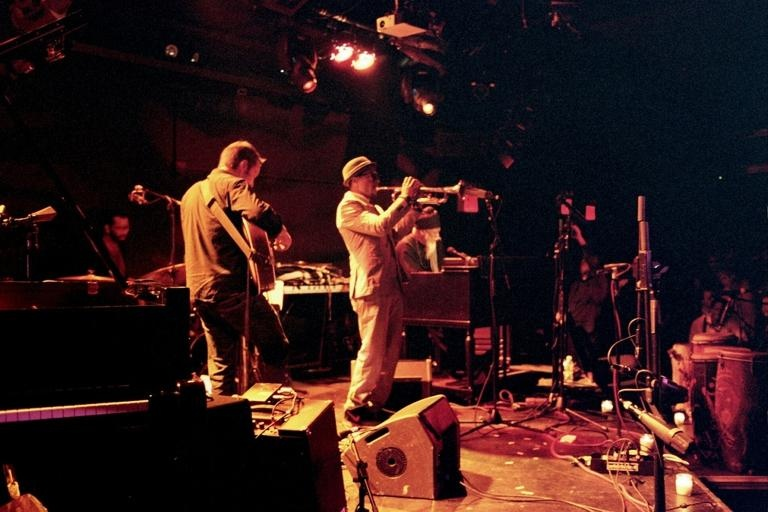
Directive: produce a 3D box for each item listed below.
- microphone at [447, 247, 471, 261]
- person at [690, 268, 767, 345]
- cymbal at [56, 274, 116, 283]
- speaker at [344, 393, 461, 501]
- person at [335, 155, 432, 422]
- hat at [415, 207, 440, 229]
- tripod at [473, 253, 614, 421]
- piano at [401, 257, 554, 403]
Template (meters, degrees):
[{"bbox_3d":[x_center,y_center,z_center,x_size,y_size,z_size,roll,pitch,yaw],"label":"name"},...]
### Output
[{"bbox_3d":[0.912,-0.048,9.039,0.184,0.166,0.655,10,-2,-2],"label":"microphone"},{"bbox_3d":[4.685,0.699,9.815,0.960,0.891,0.622,8,-24,17],"label":"person"},{"bbox_3d":[-3.027,0.222,7.356,0.382,0.090,0.368,-2,-4,11],"label":"cymbal"},{"bbox_3d":[0.220,1.703,6.592,0.993,0.642,0.943,-2,-7,16],"label":"speaker"},{"bbox_3d":[-0.087,0.303,7.690,0.865,2.859,0.807,2,-11,-4],"label":"person"},{"bbox_3d":[0.601,-0.491,9.539,0.238,0.242,0.324,3,5,29],"label":"hat"},{"bbox_3d":[2.067,0.958,9.062,2.023,2.313,1.854,-1,-4,14],"label":"tripod"},{"bbox_3d":[1.324,0.576,9.246,1.657,1.981,2.280,0,-1,28],"label":"piano"}]
